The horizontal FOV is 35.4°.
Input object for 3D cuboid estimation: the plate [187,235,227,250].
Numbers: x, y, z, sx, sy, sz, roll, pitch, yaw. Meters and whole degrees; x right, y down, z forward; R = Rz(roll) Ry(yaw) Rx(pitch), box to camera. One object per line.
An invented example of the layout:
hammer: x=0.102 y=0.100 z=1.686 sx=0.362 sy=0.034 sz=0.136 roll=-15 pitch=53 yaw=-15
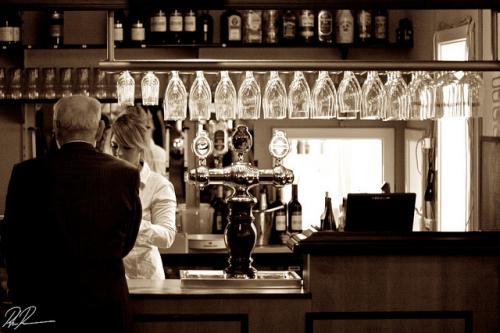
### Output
plate: x=-0.358 y=0.633 z=6.560 sx=0.313 sy=0.109 sz=0.342 roll=1 pitch=0 yaw=-3

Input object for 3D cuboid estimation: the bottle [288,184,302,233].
bottle: x=0.390 y=0.365 z=6.728 sx=0.120 sy=0.410 sz=0.254 roll=0 pitch=-1 yaw=3

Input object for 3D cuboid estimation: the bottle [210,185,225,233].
bottle: x=-0.273 y=0.382 z=6.914 sx=0.126 sy=0.412 sz=0.154 roll=1 pitch=-1 yaw=-7

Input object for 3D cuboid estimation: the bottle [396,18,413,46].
bottle: x=1.366 y=-1.185 z=6.920 sx=0.149 sy=0.261 sz=0.152 roll=0 pitch=-1 yaw=0

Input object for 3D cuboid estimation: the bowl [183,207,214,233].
bowl: x=-0.455 y=0.469 z=6.817 sx=0.229 sy=0.235 sz=0.236 roll=1 pitch=-4 yaw=0

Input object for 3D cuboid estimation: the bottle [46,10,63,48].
bottle: x=-1.719 y=-1.203 z=6.901 sx=0.085 sy=0.285 sz=0.221 roll=1 pitch=-1 yaw=-44

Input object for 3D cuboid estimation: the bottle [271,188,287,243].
bottle: x=0.251 y=0.441 z=6.802 sx=0.139 sy=0.447 sz=0.322 roll=0 pitch=-1 yaw=1

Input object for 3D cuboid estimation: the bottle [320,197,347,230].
bottle: x=0.594 y=0.348 z=5.672 sx=0.220 sy=0.300 sz=0.255 roll=1 pitch=0 yaw=4
